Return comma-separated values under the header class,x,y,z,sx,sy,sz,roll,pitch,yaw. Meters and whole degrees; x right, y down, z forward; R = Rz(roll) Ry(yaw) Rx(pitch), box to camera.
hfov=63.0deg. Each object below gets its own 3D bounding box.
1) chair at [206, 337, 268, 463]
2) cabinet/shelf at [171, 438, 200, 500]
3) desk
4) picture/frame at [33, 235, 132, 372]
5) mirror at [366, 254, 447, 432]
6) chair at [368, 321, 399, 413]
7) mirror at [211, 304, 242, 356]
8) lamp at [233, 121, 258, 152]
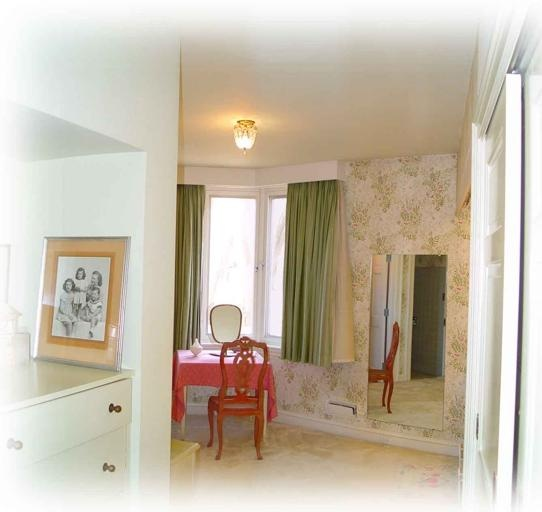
class,x,y,z,sx,sy,sz,roll,pitch,yaw
chair,-0.319,1.256,4.207,0.557,1.054,0.942,2,-2,-8
cabinet/shelf,-0.477,1.195,2.424,0.159,0.285,0.340,2,-2,-11
desk,-0.570,1.248,4.215,0.673,0.509,0.737,0,-1,-11
picture/frame,-0.777,0.218,1.846,0.448,0.656,0.044,1,-5,17
mirror,1.324,0.843,4.351,0.738,1.675,0.081,0,-2,33
chair,1.126,1.138,4.561,0.347,0.917,0.347,2,2,5
mirror,-0.518,0.864,5.022,0.361,0.722,0.232,0,24,-7
lamp,-0.197,-0.937,3.422,0.181,0.189,0.184,2,-2,-9
